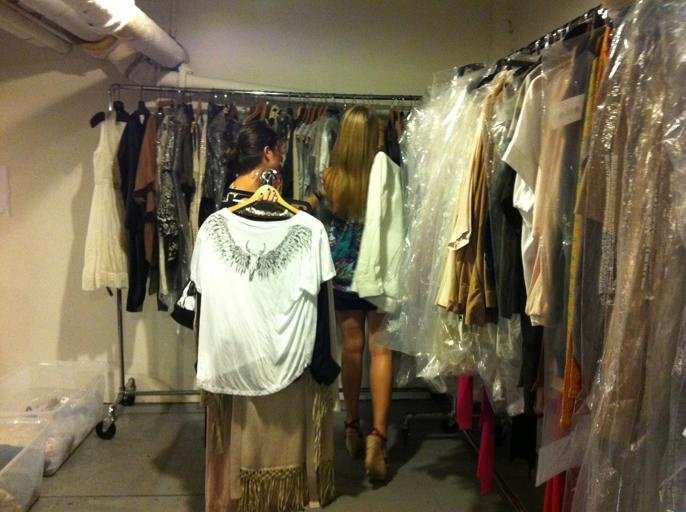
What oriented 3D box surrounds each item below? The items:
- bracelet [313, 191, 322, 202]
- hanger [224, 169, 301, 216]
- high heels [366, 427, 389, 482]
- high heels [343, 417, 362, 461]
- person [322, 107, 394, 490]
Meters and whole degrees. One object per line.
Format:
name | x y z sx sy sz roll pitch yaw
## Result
bracelet | -0.143 -0.337 3.215 0.039 0.045 0.044 14 19 -26
hanger | -0.370 -0.295 2.618 0.348 0.226 0.248 3 2 -12
high heels | 0.188 1.039 2.960 0.090 0.290 0.124 -6 13 8
high heels | 0.060 1.022 3.189 0.077 0.263 0.093 -5 16 -1
person | 0.064 0.176 3.095 0.459 1.983 0.401 3 2 7
